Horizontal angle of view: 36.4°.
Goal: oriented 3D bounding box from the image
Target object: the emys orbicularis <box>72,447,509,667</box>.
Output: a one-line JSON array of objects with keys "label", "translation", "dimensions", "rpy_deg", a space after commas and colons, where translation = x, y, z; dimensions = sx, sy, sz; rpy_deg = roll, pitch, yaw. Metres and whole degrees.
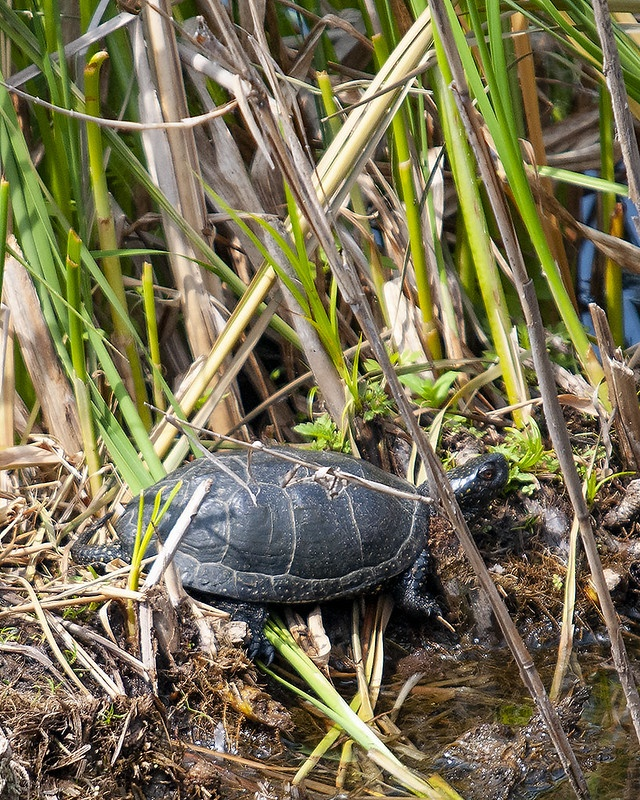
[{"label": "emys orbicularis", "translation": [-0.067, 0.304, 2.411], "dimensions": [0.732, 0.275, 0.548], "rpy_deg": [2, 24, -19]}]
